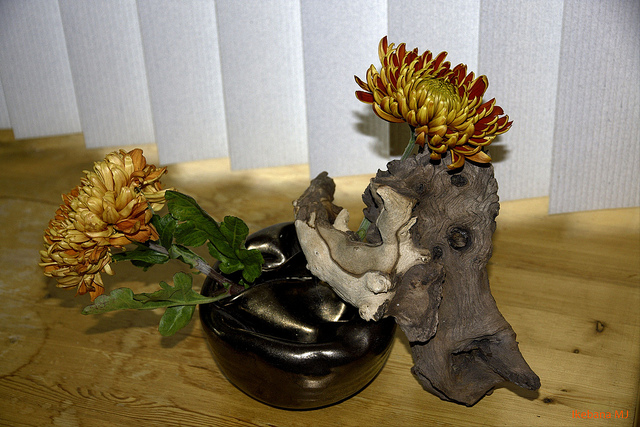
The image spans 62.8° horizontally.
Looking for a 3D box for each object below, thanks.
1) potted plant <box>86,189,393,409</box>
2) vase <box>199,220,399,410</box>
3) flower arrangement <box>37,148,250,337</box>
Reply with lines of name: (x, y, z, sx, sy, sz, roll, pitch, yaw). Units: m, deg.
potted plant: (-0.128, 0.217, 1.360, 0.711, 0.484, 0.501, -4, 56, -8)
vase: (-0.044, 0.348, 1.417, 0.530, 0.535, 0.310, 7, 76, -9)
flower arrangement: (-0.338, 0.112, 1.223, 0.441, 0.299, 0.369, 22, 55, -7)
